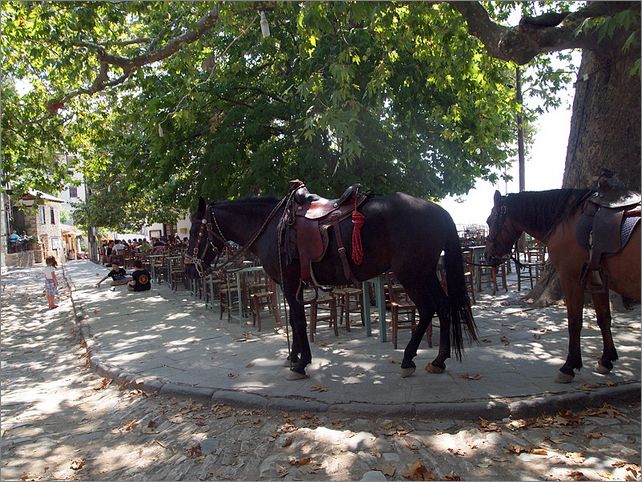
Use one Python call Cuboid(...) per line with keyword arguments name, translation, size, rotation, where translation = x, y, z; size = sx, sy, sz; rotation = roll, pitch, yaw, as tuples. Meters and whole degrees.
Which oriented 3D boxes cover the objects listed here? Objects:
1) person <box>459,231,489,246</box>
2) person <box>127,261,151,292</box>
Cuboid(name="person", translation=(6.063, -0.080, 17.599), size=(0.954, 0.644, 0.991), rotation=(-2, -1, 33))
Cuboid(name="person", translation=(-6.384, 1.209, 15.565), size=(0.699, 1.123, 0.710), rotation=(9, 13, 41))
